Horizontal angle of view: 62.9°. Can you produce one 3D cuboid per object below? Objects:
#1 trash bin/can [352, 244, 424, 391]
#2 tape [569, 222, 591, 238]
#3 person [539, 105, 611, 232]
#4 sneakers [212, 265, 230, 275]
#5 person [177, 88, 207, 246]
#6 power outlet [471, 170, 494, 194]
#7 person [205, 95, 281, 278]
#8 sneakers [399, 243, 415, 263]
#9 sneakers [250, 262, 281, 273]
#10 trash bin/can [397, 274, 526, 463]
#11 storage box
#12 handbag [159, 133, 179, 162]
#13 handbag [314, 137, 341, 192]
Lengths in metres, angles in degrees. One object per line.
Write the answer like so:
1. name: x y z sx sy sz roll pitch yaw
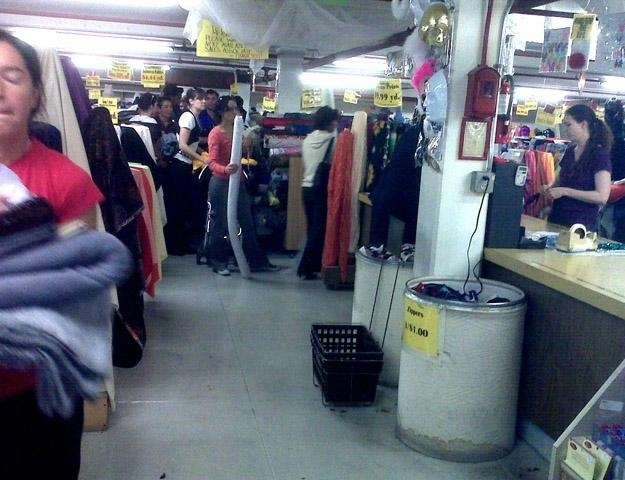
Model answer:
1. trash bin/can: 0.625 0.503 3.359 0.373 0.625 0.366 20 11 39
2. tape: 1.504 -0.052 2.892 0.120 0.088 0.043 11 -2 -20
3. person: 1.776 -0.479 3.391 0.270 0.801 0.425 -10 17 -43
4. sneakers: -0.956 0.322 5.442 0.083 0.095 0.229 -1 3 -30
5. person: -1.498 -0.681 6.190 0.351 1.680 0.732 -1 13 -15
6. power outlet: 0.902 -0.319 2.789 0.141 0.143 0.102 -1 10 -3
7. person: -0.889 -0.542 5.392 0.595 1.856 0.601 9 14 28
8. sneakers: 0.638 0.090 3.410 0.078 0.058 0.133 -2 17 0
9. sneakers: -0.521 0.313 5.698 0.346 0.152 0.120 0 8 -13
10. trash bin/can: 0.661 0.648 2.850 0.742 0.889 0.793 1 5 1
11. storage box: 0.211 0.766 3.175 0.378 0.363 0.450 0 13 -9
12. handbag: -1.635 -1.057 5.842 0.208 0.290 0.286 7 21 0
13. handbag: 0.120 -0.740 5.132 0.193 0.554 0.084 -4 14 -26
